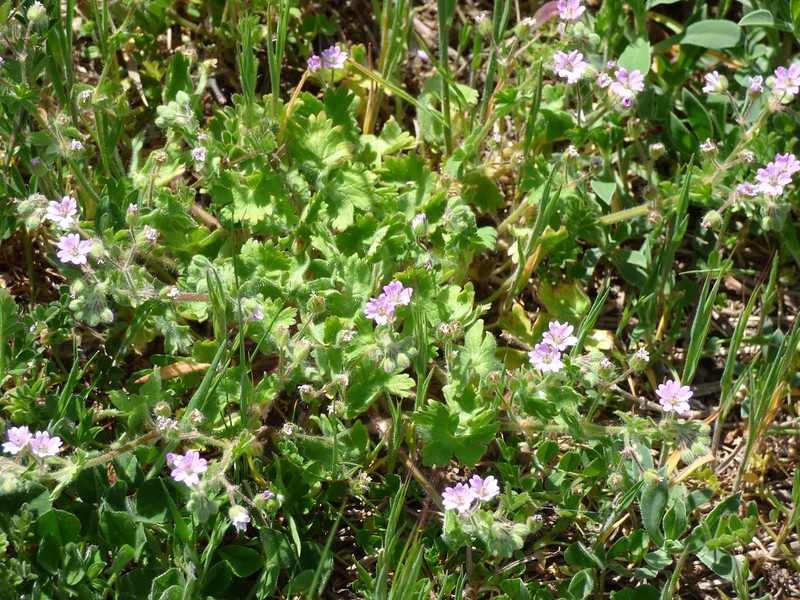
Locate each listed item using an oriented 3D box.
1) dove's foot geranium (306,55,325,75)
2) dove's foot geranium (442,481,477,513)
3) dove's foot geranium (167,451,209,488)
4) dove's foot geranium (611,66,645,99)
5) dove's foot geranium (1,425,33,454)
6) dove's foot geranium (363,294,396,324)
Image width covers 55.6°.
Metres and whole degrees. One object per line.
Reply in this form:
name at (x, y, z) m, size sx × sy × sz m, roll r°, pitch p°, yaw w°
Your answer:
dove's foot geranium at (-0.379, -1.060, 3.427) m, size 0.069 × 0.087 × 0.111 m, roll -3°, pitch 40°, yaw -5°
dove's foot geranium at (0.219, 0.706, 2.723) m, size 0.097 × 0.048 × 0.117 m, roll 16°, pitch 85°, yaw 25°
dove's foot geranium at (-0.706, 0.563, 2.531) m, size 0.133 × 0.043 × 0.153 m, roll -19°, pitch 23°, yaw -26°
dove's foot geranium at (0.968, -0.933, 3.235) m, size 0.127 × 0.117 × 0.234 m, roll 13°, pitch 42°, yaw 14°
dove's foot geranium at (-1.312, 0.471, 2.609) m, size 0.092 × 0.048 × 0.104 m, roll -25°, pitch 87°, yaw -16°
dove's foot geranium at (-0.069, 0.037, 2.811) m, size 0.092 × 0.120 × 0.042 m, roll 9°, pitch -1°, yaw 21°
